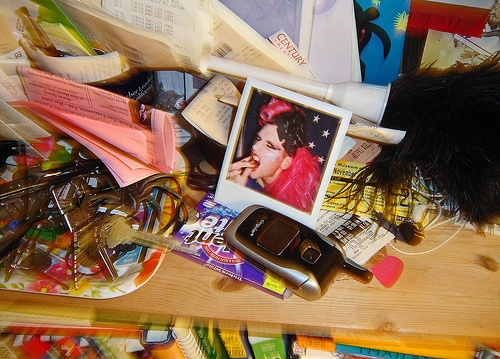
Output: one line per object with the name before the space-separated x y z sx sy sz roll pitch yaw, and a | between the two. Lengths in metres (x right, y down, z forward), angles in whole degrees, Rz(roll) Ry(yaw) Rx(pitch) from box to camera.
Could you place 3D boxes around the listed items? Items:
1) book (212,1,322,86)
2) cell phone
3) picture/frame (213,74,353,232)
book | 0.026 -0.290 0.692 0.261 0.140 0.029 30 53 -18
cell phone | 0.086 0.160 0.669 0.273 0.089 0.132 29 63 22
picture/frame | 0.071 -0.045 0.664 0.251 0.295 0.022 20 14 4
